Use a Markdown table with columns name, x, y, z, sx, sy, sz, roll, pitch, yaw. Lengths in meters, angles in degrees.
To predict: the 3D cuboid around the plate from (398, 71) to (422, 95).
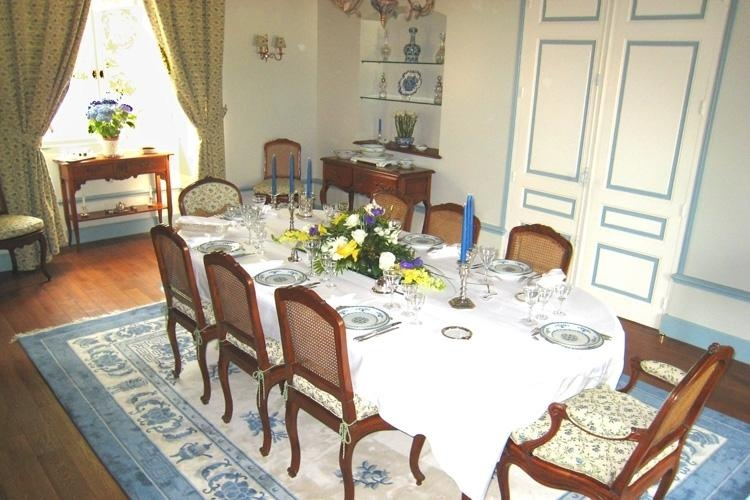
| name | x | y | z | sx | sy | sz | roll | pitch | yaw |
| --- | --- | --- | --- | --- | --- | --- | --- | --- | --- |
| plate | 0.446 | -2.078 | 6.417 | 0.246 | 0.289 | 0.071 | 27 | 22 | 29 |

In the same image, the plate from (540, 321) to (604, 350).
| name | x | y | z | sx | sy | sz | roll | pitch | yaw |
| --- | --- | --- | --- | --- | --- | --- | --- | --- | --- |
| plate | 1.114 | 0.484 | 2.897 | 0.196 | 0.034 | 0.194 | 12 | 25 | 35 |

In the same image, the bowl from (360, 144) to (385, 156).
| name | x | y | z | sx | sy | sz | roll | pitch | yaw |
| --- | --- | --- | --- | --- | --- | --- | --- | --- | --- |
| bowl | -0.021 | -1.238 | 6.372 | 0.333 | 0.140 | 0.217 | 2 | 19 | -2 |

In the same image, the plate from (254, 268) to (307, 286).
| name | x | y | z | sx | sy | sz | roll | pitch | yaw |
| --- | --- | --- | --- | --- | --- | --- | --- | --- | --- |
| plate | -0.630 | 0.180 | 3.414 | 0.179 | 0.023 | 0.174 | -14 | 29 | -34 |

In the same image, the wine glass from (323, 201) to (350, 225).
| name | x | y | z | sx | sy | sz | roll | pitch | yaw |
| --- | --- | --- | --- | --- | --- | --- | --- | --- | --- |
| wine glass | -0.343 | -0.293 | 4.014 | 0.229 | 0.165 | 0.198 | -16 | 24 | -39 |

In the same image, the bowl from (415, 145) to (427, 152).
| name | x | y | z | sx | sy | sz | roll | pitch | yaw |
| --- | --- | --- | --- | --- | --- | --- | --- | --- | --- |
| bowl | 0.557 | -1.240 | 6.265 | 0.145 | 0.057 | 0.146 | 3 | 19 | -1 |

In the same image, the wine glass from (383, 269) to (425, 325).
| name | x | y | z | sx | sy | sz | roll | pitch | yaw |
| --- | --- | --- | --- | --- | --- | --- | --- | --- | --- |
| wine glass | 0.178 | 0.280 | 3.041 | 0.120 | 0.176 | 0.292 | -6 | 12 | -21 |

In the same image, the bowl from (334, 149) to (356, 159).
| name | x | y | z | sx | sy | sz | roll | pitch | yaw |
| --- | --- | --- | --- | --- | --- | --- | --- | --- | --- |
| bowl | -0.364 | -1.236 | 6.626 | 0.253 | 0.055 | 0.190 | -15 | 31 | -33 |

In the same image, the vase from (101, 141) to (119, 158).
| name | x | y | z | sx | sy | sz | roll | pitch | yaw |
| --- | --- | --- | --- | --- | --- | --- | --- | --- | --- |
| vase | -3.083 | -1.173 | 5.942 | 0.166 | 0.187 | 0.200 | 21 | 31 | 37 |

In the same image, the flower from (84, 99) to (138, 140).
| name | x | y | z | sx | sy | sz | roll | pitch | yaw |
| --- | --- | --- | --- | --- | --- | --- | --- | --- | --- |
| flower | -3.129 | -1.571 | 6.103 | 0.513 | 0.437 | 0.531 | 19 | 25 | 39 |

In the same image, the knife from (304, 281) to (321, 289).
| name | x | y | z | sx | sy | sz | roll | pitch | yaw |
| --- | --- | --- | --- | --- | --- | --- | --- | --- | --- |
| knife | -0.409 | 0.225 | 3.356 | 0.034 | 0.035 | 0.135 | 16 | 16 | 30 |

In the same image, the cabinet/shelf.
| name | x | y | z | sx | sy | sz | roll | pitch | yaw |
| --- | --- | --- | --- | --- | --- | --- | --- | --- | --- |
| cabinet/shelf | 0.339 | -1.795 | 6.466 | 0.381 | 1.066 | 1.274 | -15 | 24 | -39 |

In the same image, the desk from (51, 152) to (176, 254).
| name | x | y | z | sx | sy | sz | roll | pitch | yaw |
| --- | --- | --- | --- | --- | --- | --- | --- | --- | --- |
| desk | -3.111 | -0.674 | 6.282 | 1.186 | 0.988 | 0.431 | -16 | 30 | -39 |

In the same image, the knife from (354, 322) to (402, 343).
| name | x | y | z | sx | sy | sz | roll | pitch | yaw |
| --- | --- | --- | --- | --- | --- | --- | --- | --- | --- |
| knife | 0.022 | 0.461 | 2.889 | 0.369 | 0.017 | 0.087 | -15 | 34 | -31 |
